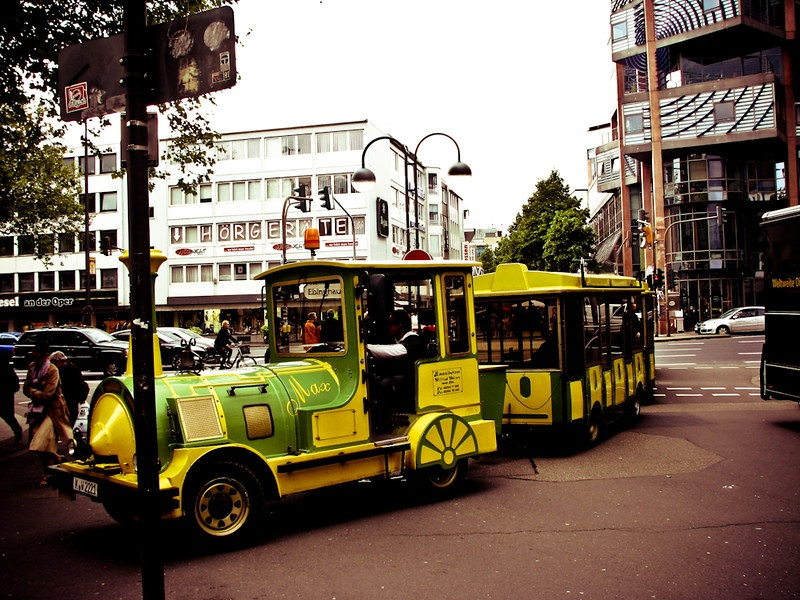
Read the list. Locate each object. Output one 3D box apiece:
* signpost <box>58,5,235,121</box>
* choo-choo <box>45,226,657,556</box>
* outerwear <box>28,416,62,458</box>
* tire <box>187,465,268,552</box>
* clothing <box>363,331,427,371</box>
[{"bbox_3d":[-2.448,-2.300,7.703,2.062,1.031,0.390,-4,-1,26],"label":"signpost"},{"bbox_3d":[-0.244,1.181,11.654,2.373,2.886,8.277,-3,-4,41],"label":"choo-choo"},{"bbox_3d":[-5.291,2.001,11.912,0.598,0.797,0.395,8,-10,-40],"label":"outerwear"},{"bbox_3d":[-2.070,2.419,9.282,0.804,0.993,0.285,1,-8,-22],"label":"tire"},{"bbox_3d":[-0.094,0.616,11.156,0.764,0.348,0.622,-5,2,-23],"label":"clothing"}]
